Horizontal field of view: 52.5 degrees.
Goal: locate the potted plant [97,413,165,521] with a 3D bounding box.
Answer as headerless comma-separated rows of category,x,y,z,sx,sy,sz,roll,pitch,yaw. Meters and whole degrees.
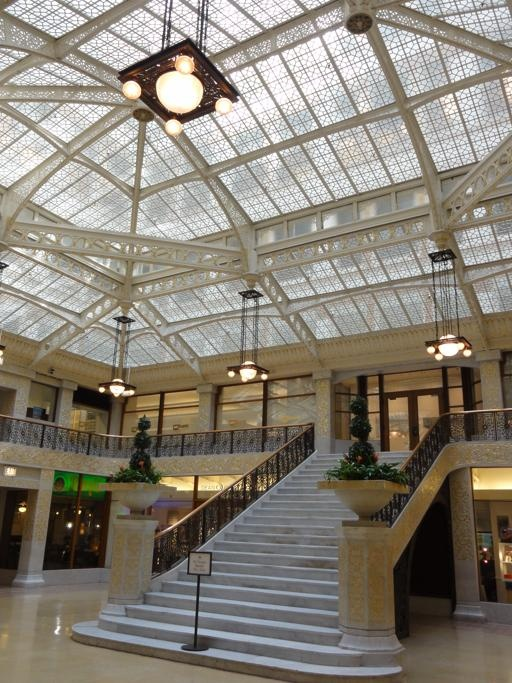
potted plant,-1.930,2.024,8.518,0.854,1.633,1.211,4,-18,-9

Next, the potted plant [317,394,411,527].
potted plant,1.260,1.328,6.125,0.945,1.542,0.931,-3,-18,11
